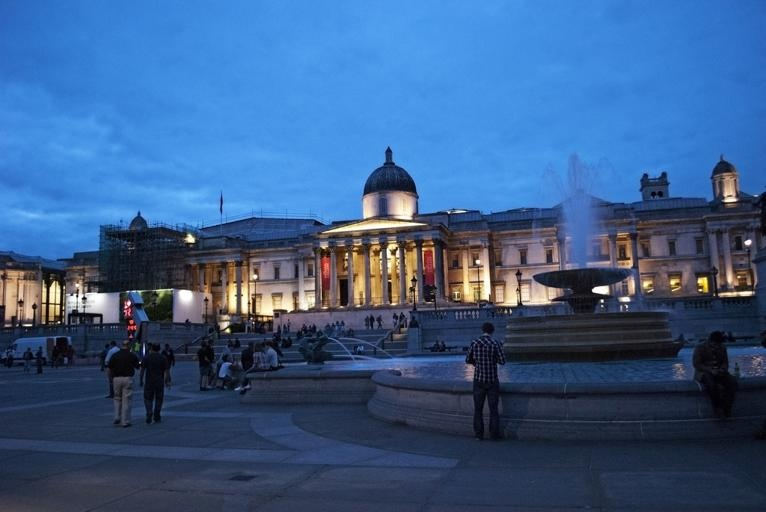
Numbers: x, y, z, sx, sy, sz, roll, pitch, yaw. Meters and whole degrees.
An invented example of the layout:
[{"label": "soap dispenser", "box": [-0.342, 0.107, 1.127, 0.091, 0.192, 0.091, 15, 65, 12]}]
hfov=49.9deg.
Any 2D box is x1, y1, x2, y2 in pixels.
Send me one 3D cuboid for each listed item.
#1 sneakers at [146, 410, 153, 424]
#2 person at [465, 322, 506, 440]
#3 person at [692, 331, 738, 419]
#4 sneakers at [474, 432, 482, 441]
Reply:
[{"label": "sneakers", "box": [-6.128, 4.226, 21.546, 0.141, 0.284, 0.306, -3, 0, -15]}, {"label": "person", "box": [2.371, 2.835, 18.756, 0.815, 2.621, 0.623, -3, 0, 7]}, {"label": "person", "box": [7.393, 2.629, 18.234, 0.831, 1.912, 0.804, -3, 0, 42]}, {"label": "sneakers", "box": [2.183, 4.059, 18.539, 0.204, 0.184, 0.157, -3, 0, 6]}]
